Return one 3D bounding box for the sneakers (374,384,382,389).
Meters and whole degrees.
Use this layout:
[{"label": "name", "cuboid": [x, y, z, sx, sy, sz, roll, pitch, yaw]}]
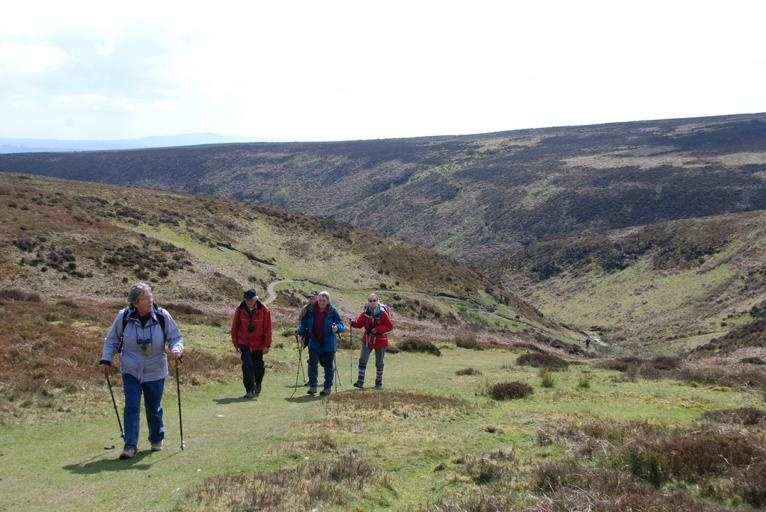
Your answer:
[{"label": "sneakers", "cuboid": [-0.215, 5.683, 32.901, 0.276, 0.220, 0.163, 0, 4, 24]}]
